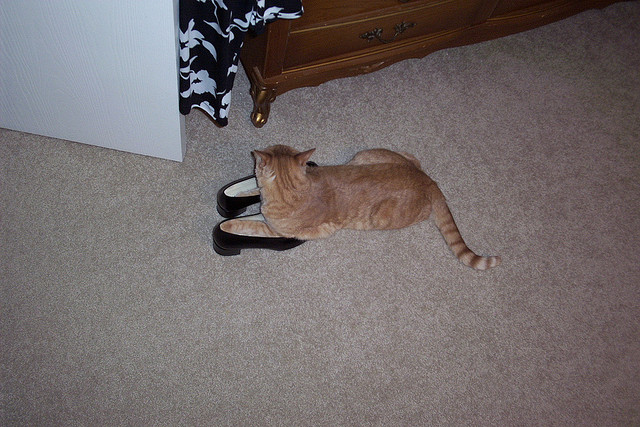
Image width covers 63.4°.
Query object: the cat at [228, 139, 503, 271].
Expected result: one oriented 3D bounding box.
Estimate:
[{"bbox_3d":[0.124,-0.108,2.204,1.195,0.417,0.572,-3,61,-1],"label":"cat"}]
